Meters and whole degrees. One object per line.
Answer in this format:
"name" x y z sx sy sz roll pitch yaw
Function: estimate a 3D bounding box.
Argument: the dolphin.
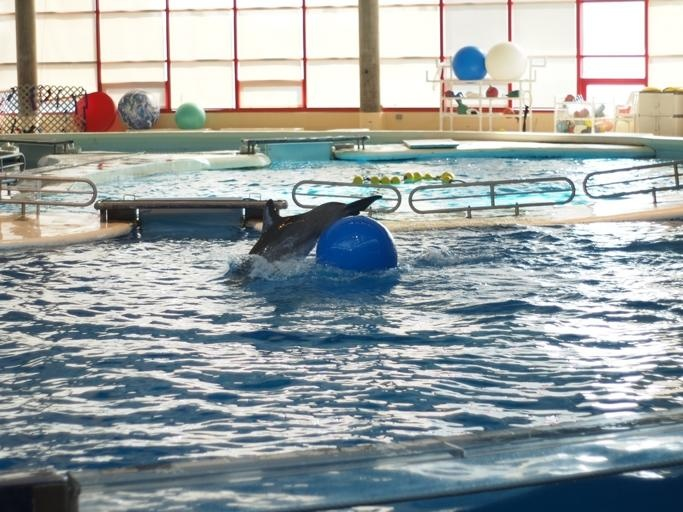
"dolphin" -0.189 -0.182 4.637 0.808 0.404 0.354 -1 14 -1

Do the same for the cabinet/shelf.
"cabinet/shelf" 3.087 -3.500 15.846 2.236 1.645 4.029 1 12 12
